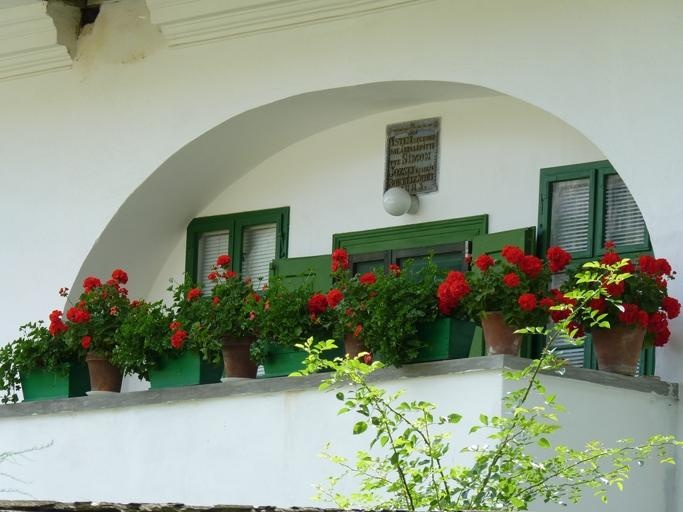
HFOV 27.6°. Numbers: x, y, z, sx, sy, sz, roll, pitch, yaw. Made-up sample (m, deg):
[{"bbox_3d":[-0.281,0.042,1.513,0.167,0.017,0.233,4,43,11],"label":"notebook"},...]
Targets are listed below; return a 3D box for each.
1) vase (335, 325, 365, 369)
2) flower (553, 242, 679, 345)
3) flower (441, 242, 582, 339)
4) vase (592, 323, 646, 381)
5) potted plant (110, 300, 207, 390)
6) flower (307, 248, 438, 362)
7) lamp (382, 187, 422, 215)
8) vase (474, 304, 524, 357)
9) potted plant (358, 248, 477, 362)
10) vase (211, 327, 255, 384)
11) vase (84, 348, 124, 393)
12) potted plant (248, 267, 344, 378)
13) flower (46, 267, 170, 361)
[{"bbox_3d":[0.058,0.577,9.151,0.195,0.198,0.168,-2,-8,21],"label":"vase"},{"bbox_3d":[1.773,0.271,8.972,0.722,0.597,0.669,8,-8,-31],"label":"flower"},{"bbox_3d":[1.074,0.204,8.914,0.673,0.484,0.609,-7,-26,23],"label":"flower"},{"bbox_3d":[1.807,0.607,9.005,0.404,0.329,0.388,9,-11,-21],"label":"vase"},{"bbox_3d":[-1.363,0.619,10.067,0.723,0.715,0.619,-15,-22,40],"label":"potted plant"},{"bbox_3d":[0.280,0.343,8.891,0.787,0.541,0.687,0,-4,12],"label":"flower"},{"bbox_3d":[0.460,-0.422,10.722,0.207,0.210,0.249,-7,-19,29],"label":"lamp"},{"bbox_3d":[0.994,0.478,8.834,0.277,0.273,0.279,2,-15,-5],"label":"vase"},{"bbox_3d":[0.367,0.354,9.063,0.583,0.621,0.735,5,8,-20],"label":"potted plant"},{"bbox_3d":[-0.761,0.733,9.795,0.291,0.247,0.282,4,-15,-16],"label":"vase"},{"bbox_3d":[-1.788,0.892,10.279,0.354,0.296,0.333,8,-10,-22],"label":"vase"},{"bbox_3d":[-0.321,0.430,9.555,0.533,0.761,0.597,-17,0,11],"label":"potted plant"},{"bbox_3d":[-1.675,0.451,10.155,0.797,0.672,0.683,2,-5,6],"label":"flower"}]
